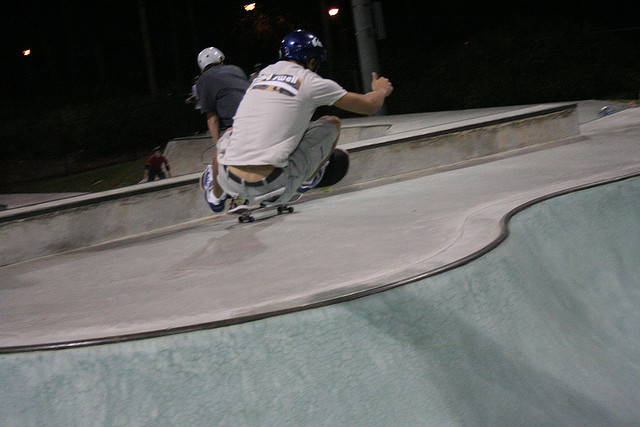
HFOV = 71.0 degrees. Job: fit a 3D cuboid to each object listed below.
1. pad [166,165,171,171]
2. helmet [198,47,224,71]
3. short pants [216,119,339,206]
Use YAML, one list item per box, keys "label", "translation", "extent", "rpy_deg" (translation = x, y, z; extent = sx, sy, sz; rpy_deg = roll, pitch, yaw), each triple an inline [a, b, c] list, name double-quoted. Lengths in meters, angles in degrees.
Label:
- label: "pad"
  translation: [-1.903, -0.578, 5.620]
  extent: [0.055, 0.075, 0.047]
  rpy_deg: [2, -6, -2]
- label: "helmet"
  translation: [-1.221, -1.785, 5.231]
  extent: [0.339, 0.239, 0.225]
  rpy_deg: [9, 3, 7]
- label: "short pants"
  translation: [-0.279, -0.419, 3.730]
  extent: [0.808, 0.345, 0.891]
  rpy_deg: [12, 27, 38]
